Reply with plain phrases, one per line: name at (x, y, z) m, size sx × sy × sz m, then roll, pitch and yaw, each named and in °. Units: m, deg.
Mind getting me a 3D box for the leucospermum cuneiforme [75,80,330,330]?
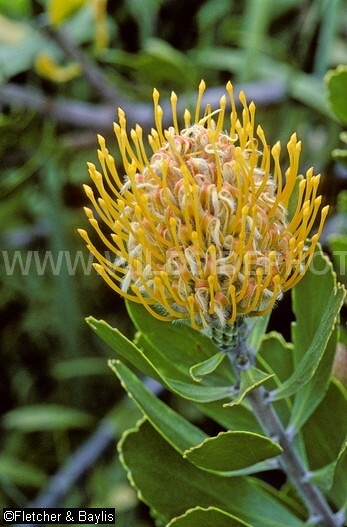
leucospermum cuneiforme at (0.028, -0.039, 0.399) m, size 0.162 × 0.200 × 0.206 m, roll -2°, pitch 28°, yaw 8°
